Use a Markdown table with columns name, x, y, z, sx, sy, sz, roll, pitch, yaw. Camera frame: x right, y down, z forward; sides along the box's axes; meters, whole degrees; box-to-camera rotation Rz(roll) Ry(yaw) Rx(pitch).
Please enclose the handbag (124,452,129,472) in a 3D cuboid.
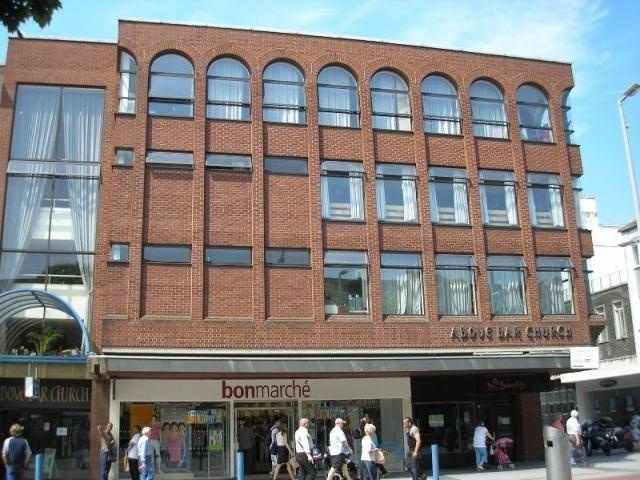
| name | x | y | z | sx | sy | sz | roll | pitch | yaw |
| --- | --- | --- | --- | --- | --- | --- | --- | --- | --- |
| handbag | -7.261 | 8.307 | 23.091 | 0.223 | 0.687 | 0.485 | 2 | -17 | -17 |
